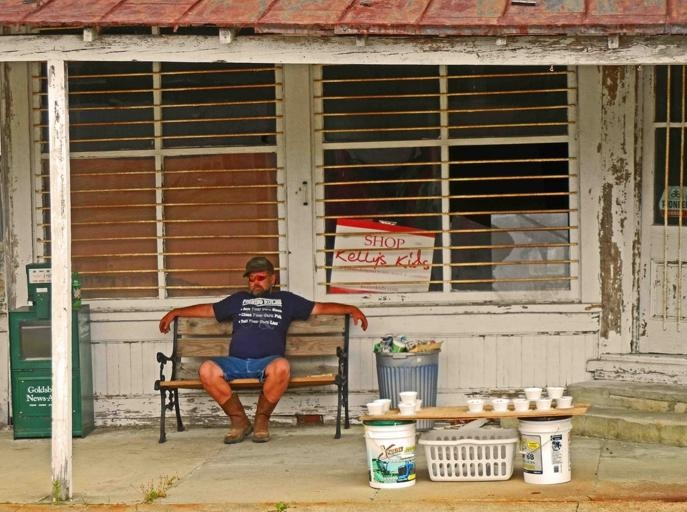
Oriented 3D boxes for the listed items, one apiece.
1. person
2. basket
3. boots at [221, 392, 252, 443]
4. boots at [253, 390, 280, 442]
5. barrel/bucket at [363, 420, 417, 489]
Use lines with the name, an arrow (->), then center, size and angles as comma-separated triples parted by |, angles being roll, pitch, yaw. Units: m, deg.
person -> -0.772, 1.039, 15.407 | 1.721, 0.828, 0.513 | -3, 21, 19
basket -> 0.974, 1.594, 13.718 | 0.722, 0.244, 0.427 | 0, -1, 5
boots -> -0.909, 1.427, 15.076 | 0.254, 0.430, 0.231 | -2, -2, -6
boots -> -0.678, 1.417, 15.029 | 0.214, 0.435, 0.196 | -2, -2, -3
barrel/bucket -> 0.371, 1.586, 13.605 | 0.640, 0.493, 0.525 | -1, -5, 12
